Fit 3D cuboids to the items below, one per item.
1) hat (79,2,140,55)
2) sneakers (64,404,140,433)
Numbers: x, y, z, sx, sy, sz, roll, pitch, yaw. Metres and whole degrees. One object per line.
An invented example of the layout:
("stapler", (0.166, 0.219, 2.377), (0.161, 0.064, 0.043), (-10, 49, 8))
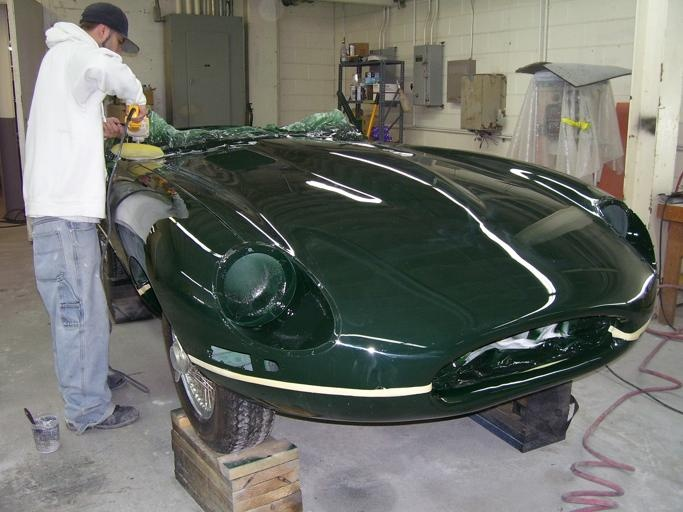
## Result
("hat", (-1.052, -1.066, 2.458), (0.325, 0.182, 0.207), (13, 10, -36))
("sneakers", (-1.135, 0.765, 2.448), (0.248, 0.102, 0.082), (-10, 21, -31))
